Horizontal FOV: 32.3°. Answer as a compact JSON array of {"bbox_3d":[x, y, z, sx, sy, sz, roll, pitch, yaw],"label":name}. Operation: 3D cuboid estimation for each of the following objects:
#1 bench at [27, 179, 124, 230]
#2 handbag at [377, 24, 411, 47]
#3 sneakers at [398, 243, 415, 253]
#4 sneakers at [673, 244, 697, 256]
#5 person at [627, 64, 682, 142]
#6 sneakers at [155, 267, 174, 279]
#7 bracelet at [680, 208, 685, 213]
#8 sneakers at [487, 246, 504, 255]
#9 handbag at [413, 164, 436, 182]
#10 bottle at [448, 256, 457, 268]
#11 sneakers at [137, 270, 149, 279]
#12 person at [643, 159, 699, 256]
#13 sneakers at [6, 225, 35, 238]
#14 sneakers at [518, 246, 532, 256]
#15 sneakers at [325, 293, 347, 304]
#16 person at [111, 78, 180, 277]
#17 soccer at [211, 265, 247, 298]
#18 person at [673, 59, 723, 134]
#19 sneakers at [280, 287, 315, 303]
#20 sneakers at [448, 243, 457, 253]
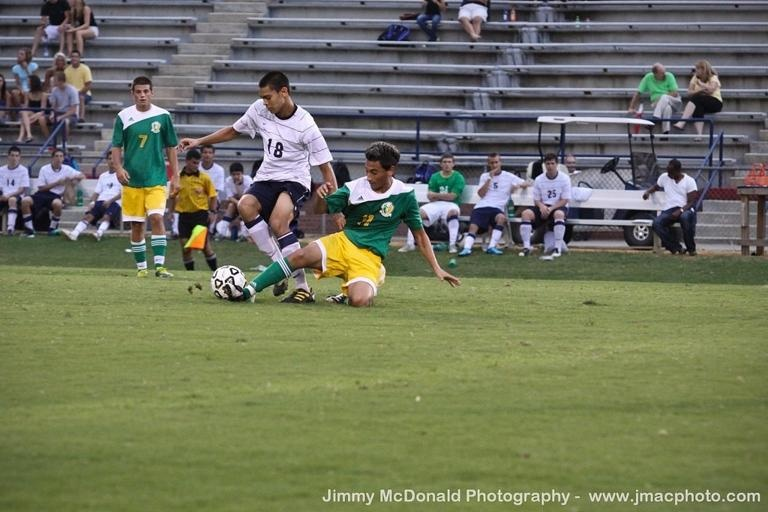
[{"bbox_3d":[-6.628,-1.141,28.142,1.461,0.866,1.332,1,-1,8],"label":"bench"},{"bbox_3d":[0.276,-5.242,31.391,0.895,0.458,0.689,5,30,5],"label":"handbag"},{"bbox_3d":[0.449,-0.163,25.423,0.349,0.132,0.122,-5,7,-25],"label":"sneakers"},{"bbox_3d":[5.717,-0.120,25.074,0.535,0.218,0.179,-8,-4,34],"label":"sneakers"},{"bbox_3d":[5.907,-3.396,28.920,1.188,1.565,1.035,-6,9,7],"label":"person"},{"bbox_3d":[-3.561,0.265,21.327,0.435,0.175,0.130,1,11,19],"label":"sneakers"},{"bbox_3d":[5.671,-0.878,25.173,0.085,0.052,0.088,2,9,26],"label":"bracelet"},{"bbox_3d":[2.109,-0.109,25.215,0.265,0.102,0.148,1,5,45],"label":"sneakers"},{"bbox_3d":[0.859,-1.716,27.124,0.357,0.442,0.241,4,-38,2],"label":"handbag"},{"bbox_3d":[1.252,0.087,23.918,0.170,0.161,0.263,-9,7,11],"label":"bottle"},{"bbox_3d":[-3.826,0.271,21.226,0.091,0.102,0.236,-1,-5,-26],"label":"sneakers"},{"bbox_3d":[5.520,-0.968,25.343,0.958,1.795,0.801,-1,3,25],"label":"person"},{"bbox_3d":[-7.290,-0.508,26.730,0.463,0.187,0.150,17,-9,-31],"label":"sneakers"},{"bbox_3d":[2.698,-0.099,25.160,0.260,0.152,0.522,-2,3,6],"label":"sneakers"},{"bbox_3d":[-0.668,0.617,19.535,0.251,0.100,0.156,0,5,12],"label":"sneakers"},{"bbox_3d":[-3.799,-1.306,21.372,1.002,3.224,0.729,-3,3,-8],"label":"person"},{"bbox_3d":[-2.209,0.348,19.263,0.504,0.477,0.451,-3,-1,7],"label":"soccer"},{"bbox_3d":[6.782,-3.464,28.654,0.799,1.643,1.191,-1,3,34],"label":"person"},{"bbox_3d":[-1.230,0.583,19.346,0.523,0.196,0.185,1,-2,-11],"label":"sneakers"},{"bbox_3d":[1.337,-0.164,25.399,0.165,0.185,0.473,-1,-3,-1],"label":"sneakers"}]
